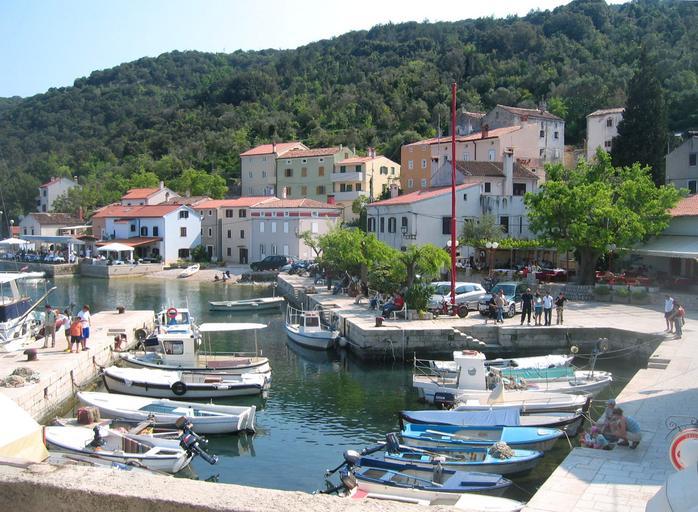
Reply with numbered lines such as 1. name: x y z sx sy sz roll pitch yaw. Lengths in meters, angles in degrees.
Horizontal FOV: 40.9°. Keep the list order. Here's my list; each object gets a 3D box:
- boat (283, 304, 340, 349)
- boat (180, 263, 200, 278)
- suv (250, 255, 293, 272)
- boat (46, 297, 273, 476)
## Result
1. boat: -3.162 5.215 66.466 1.886 2.383 5.710 -1 2 -28
2. boat: -16.324 1.485 97.928 0.848 0.487 2.658 10 25 10
3. suv: -8.126 0.818 97.387 3.714 1.530 1.745 2 1 5
4. boat: -9.879 8.072 55.961 10.045 6.932 12.182 -3 1 -5
